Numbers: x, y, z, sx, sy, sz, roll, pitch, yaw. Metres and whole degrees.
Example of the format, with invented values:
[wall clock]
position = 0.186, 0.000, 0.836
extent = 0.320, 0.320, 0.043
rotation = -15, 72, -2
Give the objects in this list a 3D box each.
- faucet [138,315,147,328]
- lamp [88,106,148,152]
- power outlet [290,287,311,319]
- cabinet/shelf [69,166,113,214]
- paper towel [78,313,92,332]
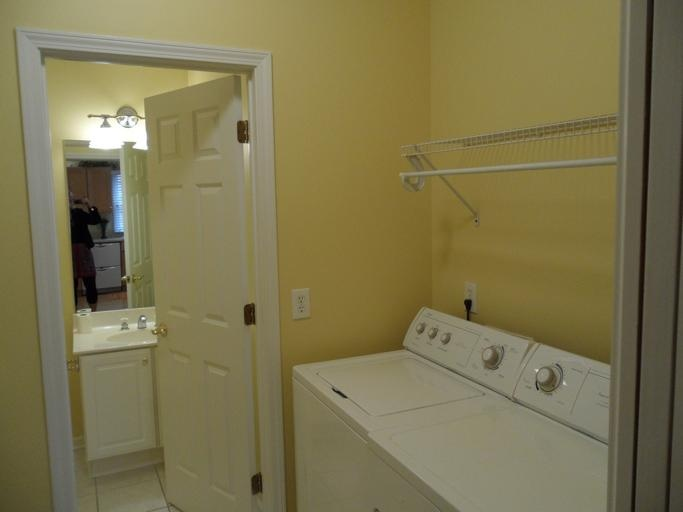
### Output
[faucet]
position = -1.309, 0.431, 3.560
extent = 0.048, 0.087, 0.081
rotation = -1, 15, -21
[lamp]
position = -1.417, -0.843, 3.607
extent = 0.442, 0.261, 0.170
rotation = -8, 3, -32
[power outlet]
position = -0.188, 0.212, 2.455
extent = 0.119, 0.204, 0.035
rotation = 0, 0, -26
[cabinet/shelf]
position = -1.643, -0.440, 3.523
extent = 0.256, 0.285, 0.099
rotation = -1, 2, -19
[paper towel]
position = -1.659, 0.427, 3.493
extent = 0.080, 0.125, 0.063
rotation = -5, 10, -26
